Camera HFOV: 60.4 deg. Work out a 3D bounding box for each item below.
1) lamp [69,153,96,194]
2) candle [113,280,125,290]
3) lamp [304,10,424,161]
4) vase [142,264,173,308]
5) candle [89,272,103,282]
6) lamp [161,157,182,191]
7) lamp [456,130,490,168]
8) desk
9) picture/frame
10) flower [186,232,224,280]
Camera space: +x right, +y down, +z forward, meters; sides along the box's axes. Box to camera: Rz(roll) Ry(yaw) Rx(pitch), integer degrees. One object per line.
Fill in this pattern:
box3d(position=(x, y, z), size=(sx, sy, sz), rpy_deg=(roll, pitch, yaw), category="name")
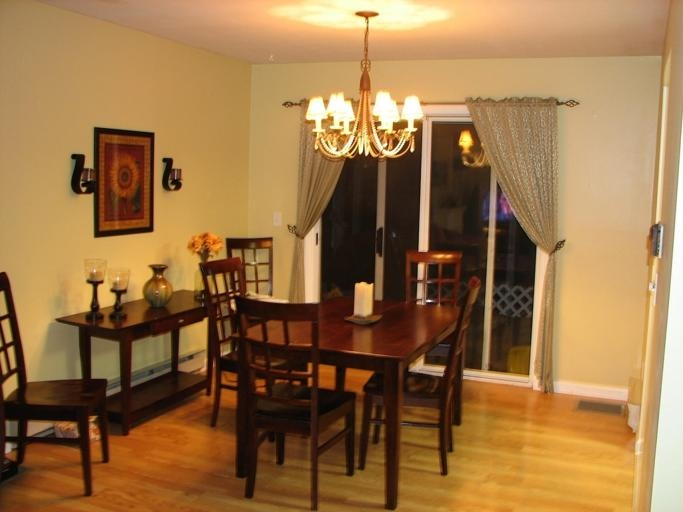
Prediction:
box3d(position=(-1.902, -0.603, 4.325), size=(0.120, 0.301, 0.190), rpy_deg=(4, 12, 16), category="lamp")
box3d(position=(-1.642, 0.212, 4.308), size=(0.063, 0.048, 0.064), rpy_deg=(-1, 5, -15), category="candle")
box3d(position=(0.181, -1.240, 4.213), size=(0.833, 1.038, 0.881), rpy_deg=(6, 13, 26), category="lamp")
box3d(position=(-1.466, 0.233, 4.659), size=(0.245, 0.344, 0.233), rpy_deg=(4, 7, -10), category="vase")
box3d(position=(-1.755, 0.142, 4.195), size=(0.065, 0.050, 0.065), rpy_deg=(-1, 6, -26), category="candle")
box3d(position=(-1.481, -0.719, 5.140), size=(0.154, 0.298, 0.216), rpy_deg=(-1, 11, -9), category="lamp")
box3d(position=(1.187, -0.972, 5.461), size=(0.304, 0.450, 0.312), rpy_deg=(-4, 3, 28), category="lamp")
box3d(position=(-1.488, 0.779, 4.633), size=(0.645, 0.810, 1.241), rpy_deg=(7, 11, 29), category="desk")
box3d(position=(-1.750, -0.603, 4.643), size=(0.043, 1.124, 0.835), rpy_deg=(5, 7, 24), category="picture/frame")
box3d(position=(-1.204, -0.008, 5.140), size=(0.313, 0.328, 0.320), rpy_deg=(3, 6, 37), category="flower")
